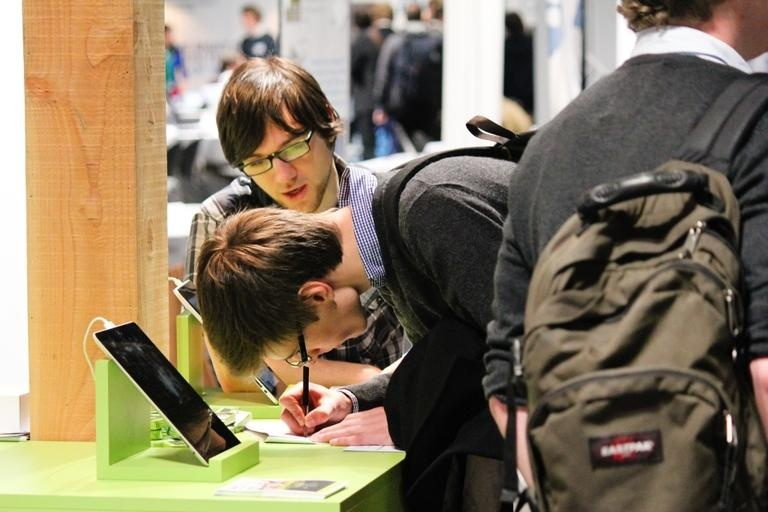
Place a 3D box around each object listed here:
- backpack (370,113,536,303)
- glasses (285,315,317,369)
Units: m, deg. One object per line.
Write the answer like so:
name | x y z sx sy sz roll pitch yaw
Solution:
backpack | 0.193 -0.123 2.315 0.397 0.157 0.294 -25 2 11
glasses | -0.207 0.234 2.478 0.031 0.107 0.096 16 -17 -37
